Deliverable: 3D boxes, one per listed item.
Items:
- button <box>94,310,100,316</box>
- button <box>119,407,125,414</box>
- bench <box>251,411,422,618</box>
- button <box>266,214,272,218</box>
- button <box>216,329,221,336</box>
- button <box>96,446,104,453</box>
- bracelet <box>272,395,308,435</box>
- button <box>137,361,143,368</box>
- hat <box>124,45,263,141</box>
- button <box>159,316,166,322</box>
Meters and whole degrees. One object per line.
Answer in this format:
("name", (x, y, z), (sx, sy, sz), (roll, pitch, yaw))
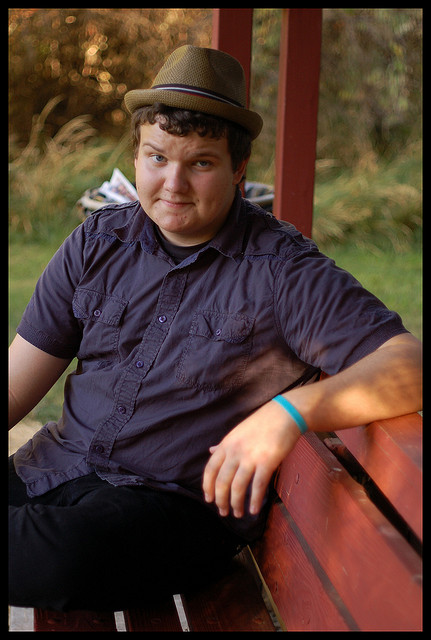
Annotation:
("button", (-0.311, -0.018, 1.308), (0.013, 0.013, 0.003), (-1, -10, 13))
("button", (-0.226, 0.221, 1.202), (0.014, 0.015, 0.003), (0, -6, 15))
("bench", (0.193, 0.307, 0.792), (0.139, 0.260, 0.379), (3, 21, -6))
("button", (0.153, -0.295, 1.410), (0.012, 0.003, 0.013), (5, 33, -42))
("button", (0.007, 0.029, 1.165), (0.010, 0.011, 0.002), (9, -7, 35))
("button", (-0.277, 0.314, 1.193), (0.015, 0.015, 0.004), (-2, 1, -4))
("bracelet", (0.142, 0.171, 0.903), (0.016, 0.064, 0.060), (-31, 44, -8))
("button", (-0.182, 0.109, 1.205), (0.015, 0.013, 0.006), (5, 13, 27))
("hat", (-0.026, -0.616, 1.265), (0.300, 0.118, 0.251), (-9, 33, -25))
("button", (-0.133, -0.002, 1.225), (0.013, 0.013, 0.003), (-4, -7, 12))
